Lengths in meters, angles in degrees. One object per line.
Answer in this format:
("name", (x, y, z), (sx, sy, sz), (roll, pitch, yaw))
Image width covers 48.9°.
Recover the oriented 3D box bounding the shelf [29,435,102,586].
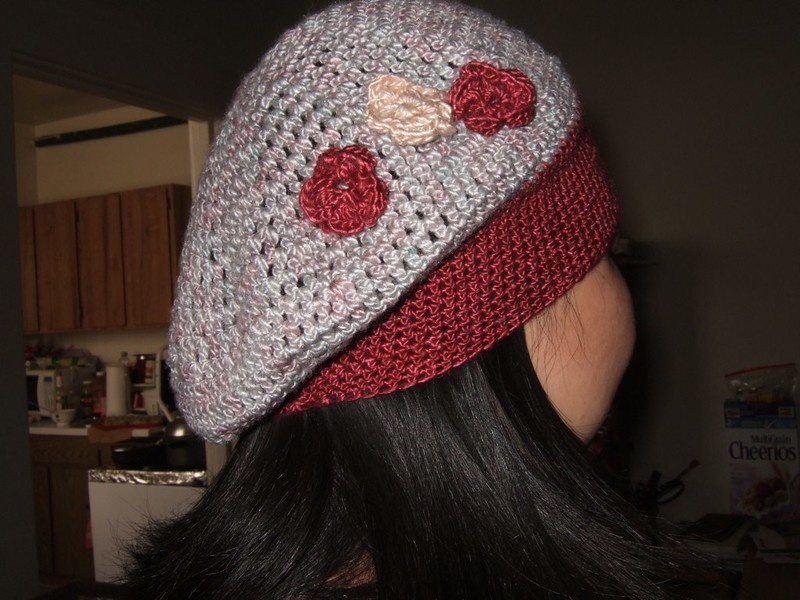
("shelf", (-1.777, 1.111, 4.681), (0.489, 0.774, 0.201), (-2, -5, 41))
